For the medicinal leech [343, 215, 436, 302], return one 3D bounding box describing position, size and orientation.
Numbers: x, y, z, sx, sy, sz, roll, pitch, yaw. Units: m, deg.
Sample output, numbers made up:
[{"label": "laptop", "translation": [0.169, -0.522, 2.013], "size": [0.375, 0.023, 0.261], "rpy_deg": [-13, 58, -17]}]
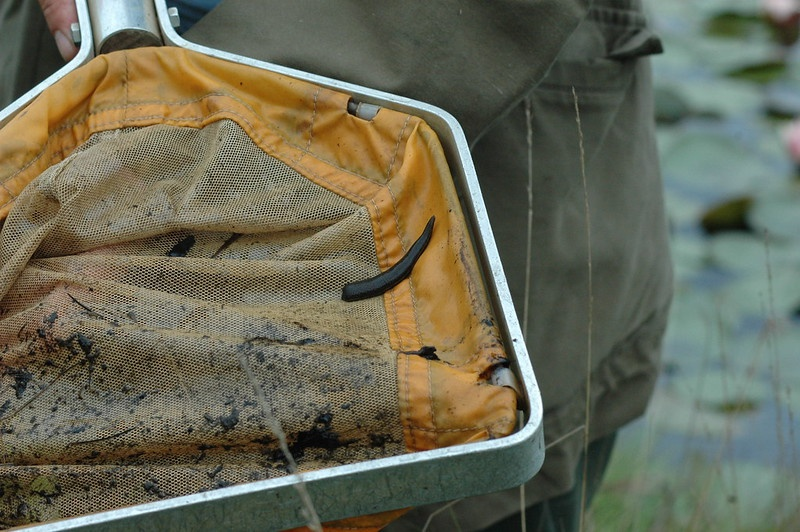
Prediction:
[{"label": "medicinal leech", "translation": [-0.019, -0.006, 2.181], "size": [0.046, 0.040, 0.133], "rpy_deg": [16, 62, 50]}]
